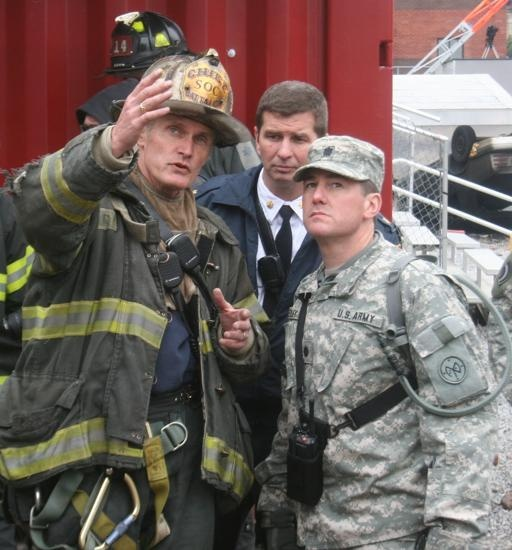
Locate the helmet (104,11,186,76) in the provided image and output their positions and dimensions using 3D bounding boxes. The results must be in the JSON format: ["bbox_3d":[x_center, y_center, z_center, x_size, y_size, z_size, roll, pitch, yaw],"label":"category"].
[{"bbox_3d":[-0.556,-1.132,3.930,0.362,0.267,0.274,-2,17,-22],"label":"helmet"}]
